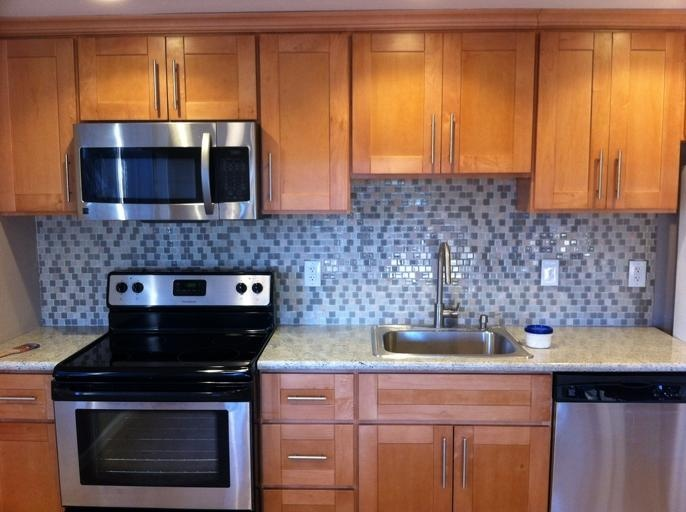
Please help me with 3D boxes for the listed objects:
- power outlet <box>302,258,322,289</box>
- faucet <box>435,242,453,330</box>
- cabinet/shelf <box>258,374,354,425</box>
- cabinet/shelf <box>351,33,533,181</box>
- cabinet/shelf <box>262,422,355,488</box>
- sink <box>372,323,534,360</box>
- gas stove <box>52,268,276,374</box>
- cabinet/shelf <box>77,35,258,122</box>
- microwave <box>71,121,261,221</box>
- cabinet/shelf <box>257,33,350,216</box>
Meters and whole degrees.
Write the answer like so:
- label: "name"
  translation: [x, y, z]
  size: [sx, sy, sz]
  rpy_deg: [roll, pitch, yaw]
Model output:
- label: "power outlet"
  translation: [-0.170, 0.083, 4.123]
  size: [0.159, 0.213, 0.022]
  rpy_deg: [0, -1, -1]
- label: "faucet"
  translation: [0.525, 0.152, 3.993]
  size: [0.097, 0.453, 0.292]
  rpy_deg: [-2, 6, 8]
- label: "cabinet/shelf"
  translation: [-0.167, 0.662, 3.632]
  size: [0.439, 0.220, 0.089]
  rpy_deg: [-1, 6, 11]
- label: "cabinet/shelf"
  translation: [0.474, -0.768, 3.922]
  size: [0.963, 0.690, 0.346]
  rpy_deg: [-3, 10, -10]
- label: "cabinet/shelf"
  translation: [-0.160, 0.950, 3.755]
  size: [0.343, 0.213, 0.347]
  rpy_deg: [0, -5, 1]
- label: "sink"
  translation: [0.536, 0.455, 3.876]
  size: [0.773, 0.149, 0.487]
  rpy_deg: [-2, 5, 3]
- label: "gas stove"
  translation: [-0.856, 0.298, 3.803]
  size: [0.917, 0.423, 0.604]
  rpy_deg: [-2, 6, 7]
- label: "cabinet/shelf"
  translation: [-0.881, -0.883, 3.929]
  size: [0.899, 0.429, 0.381]
  rpy_deg: [-1, 1, -1]
- label: "microwave"
  translation: [-0.883, -0.419, 3.958]
  size: [0.970, 0.492, 0.481]
  rpy_deg: [0, 6, 8]
- label: "cabinet/shelf"
  translation: [-0.186, -0.678, 3.968]
  size: [0.517, 0.847, 0.456]
  rpy_deg: [1, 15, 6]
